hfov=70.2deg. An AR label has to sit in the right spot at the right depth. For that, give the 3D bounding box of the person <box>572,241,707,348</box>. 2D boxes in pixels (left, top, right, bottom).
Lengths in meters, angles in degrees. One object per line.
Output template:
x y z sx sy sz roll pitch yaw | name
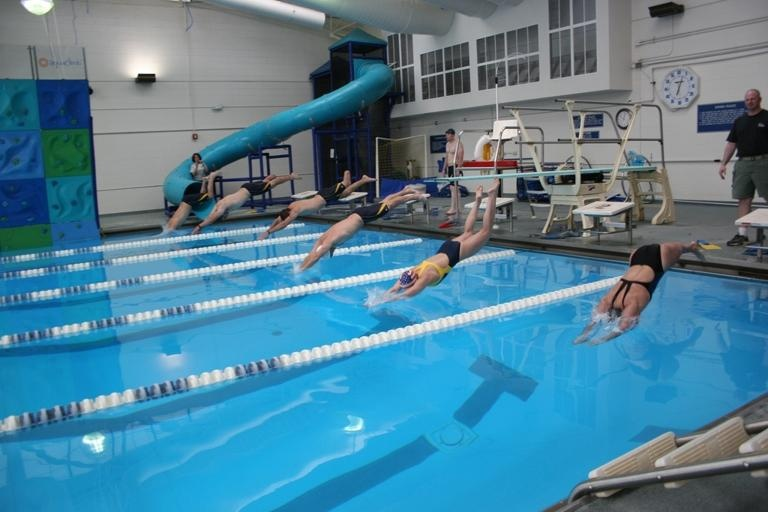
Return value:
2.004 0.289 4.410 0.460 0.747 1.172 9 16 41 | person

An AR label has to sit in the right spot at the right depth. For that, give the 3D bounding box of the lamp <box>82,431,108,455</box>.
-1.900 1.228 3.608 0.094 0.038 0.147 -6 13 -43 | lamp

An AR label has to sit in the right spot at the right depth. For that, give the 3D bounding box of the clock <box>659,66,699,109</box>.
4.951 -2.801 9.160 0.107 0.666 0.738 -17 18 -19 | clock

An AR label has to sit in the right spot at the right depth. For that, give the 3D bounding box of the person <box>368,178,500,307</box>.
0.516 -0.115 4.913 1.236 0.940 0.355 -12 16 -38 | person

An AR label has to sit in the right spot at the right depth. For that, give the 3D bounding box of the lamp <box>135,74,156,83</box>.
-5.372 -3.984 12.366 0.301 0.095 0.276 -4 -6 -30 | lamp

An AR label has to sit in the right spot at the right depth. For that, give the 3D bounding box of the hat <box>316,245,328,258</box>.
-0.646 -0.061 5.910 0.122 0.122 0.178 2 13 18 | hat

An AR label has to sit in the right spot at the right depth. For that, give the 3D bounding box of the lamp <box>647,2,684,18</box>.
4.676 -4.080 9.129 0.234 0.202 0.541 -10 14 -31 | lamp

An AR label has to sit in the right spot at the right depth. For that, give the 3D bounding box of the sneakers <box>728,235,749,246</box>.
3.743 -0.166 5.832 0.272 0.087 0.088 -10 10 -16 | sneakers

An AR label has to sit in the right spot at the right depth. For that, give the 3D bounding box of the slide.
-2.164 -2.529 11.337 4.709 1.118 2.834 -33 4 16 | slide

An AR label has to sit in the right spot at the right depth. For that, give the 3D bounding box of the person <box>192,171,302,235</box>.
-1.787 -0.885 8.536 2.470 0.454 0.683 -22 5 -27 | person
